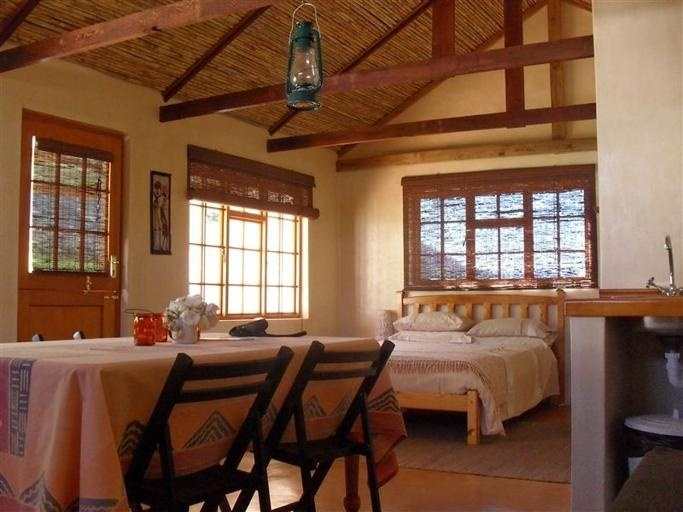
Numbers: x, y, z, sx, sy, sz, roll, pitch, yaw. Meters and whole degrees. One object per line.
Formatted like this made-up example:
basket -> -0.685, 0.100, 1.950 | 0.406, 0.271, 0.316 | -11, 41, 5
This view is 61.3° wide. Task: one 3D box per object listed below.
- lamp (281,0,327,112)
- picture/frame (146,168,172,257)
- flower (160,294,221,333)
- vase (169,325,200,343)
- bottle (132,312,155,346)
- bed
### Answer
lamp -> -0.179, -0.946, 2.799 | 0.167, 0.482, 0.207 | 1, -3, -6
picture/frame -> -1.853, -0.450, 5.916 | 0.361, 0.805, 0.022 | 8, 10, 37
flower -> -0.773, 0.292, 3.031 | 0.225, 0.148, 0.222 | 0, -2, 21
vase -> -0.804, 0.400, 2.961 | 0.123, 0.083, 0.090 | -4, -5, 4
bottle -> -0.980, 0.365, 2.858 | 0.136, 0.152, 0.137 | -7, -8, 33
bed -> 1.046, 1.036, 6.232 | 2.212, 1.153, 2.865 | 0, -1, 33
